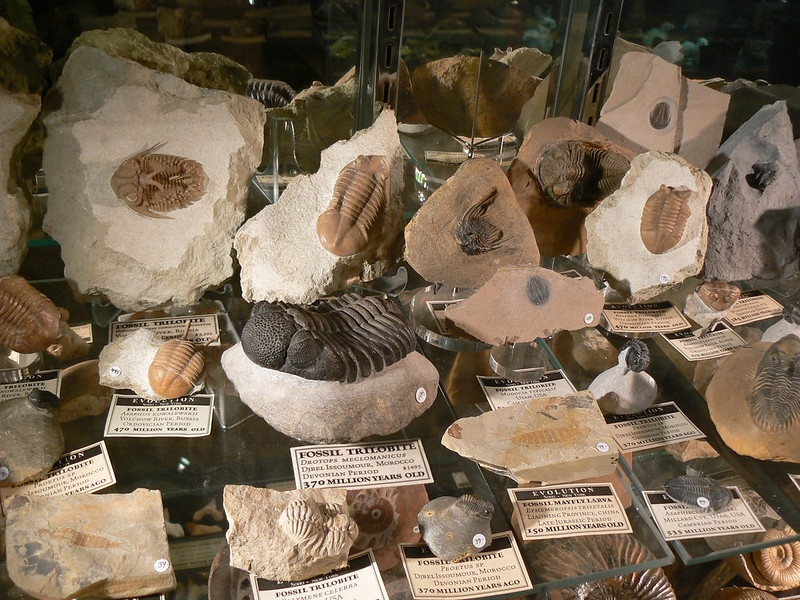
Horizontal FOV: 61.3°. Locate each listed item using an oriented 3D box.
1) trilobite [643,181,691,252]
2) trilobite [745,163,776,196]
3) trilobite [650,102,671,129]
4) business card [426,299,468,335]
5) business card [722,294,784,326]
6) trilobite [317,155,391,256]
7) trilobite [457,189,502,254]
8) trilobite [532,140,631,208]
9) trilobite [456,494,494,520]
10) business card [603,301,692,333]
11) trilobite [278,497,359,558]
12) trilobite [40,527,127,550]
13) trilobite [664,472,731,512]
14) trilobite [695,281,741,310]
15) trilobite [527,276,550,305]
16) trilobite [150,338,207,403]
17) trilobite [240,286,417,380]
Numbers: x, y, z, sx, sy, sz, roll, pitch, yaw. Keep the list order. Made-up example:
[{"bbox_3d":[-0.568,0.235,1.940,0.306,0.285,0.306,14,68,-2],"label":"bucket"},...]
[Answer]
[{"bbox_3d":[0.837,-0.253,2.133,0.153,0.173,0.128,5,40,4],"label":"trilobite"},{"bbox_3d":[1.217,-0.418,2.277,0.089,0.086,0.052,15,42,16],"label":"trilobite"},{"bbox_3d":[0.921,-0.649,2.380,0.069,0.088,0.021,12,15,5],"label":"trilobite"},{"bbox_3d":[0.146,0.053,2.219,0.108,0.028,0.113,-5,43,-6],"label":"business card"},{"bbox_3d":[1.256,0.030,2.394,0.175,0.021,0.127,-16,59,-22],"label":"business card"},{"bbox_3d":[-0.136,-0.266,1.979,0.164,0.061,0.318,28,82,-9],"label":"trilobite"},{"bbox_3d":[0.260,-0.230,2.053,0.179,0.144,0.043,-40,23,-5],"label":"trilobite"},{"bbox_3d":[0.589,-0.410,2.189,0.307,0.182,0.131,-9,41,-12],"label":"trilobite"},{"bbox_3d":[0.188,0.513,1.690,0.082,0.025,0.050,21,62,3],"label":"trilobite"},{"bbox_3d":[0.825,0.059,2.265,0.224,0.032,0.132,1,43,-3],"label":"business card"},{"bbox_3d":[-0.201,0.555,1.674,0.174,0.087,0.140,-17,43,-20],"label":"trilobite"},{"bbox_3d":[-0.778,0.580,1.655,0.196,0.029,0.034,8,40,7],"label":"trilobite"},{"bbox_3d":[0.827,0.524,1.876,0.139,0.034,0.091,9,22,38],"label":"trilobite"},{"bbox_3d":[1.081,-0.027,2.297,0.145,0.044,0.112,-32,50,-33],"label":"trilobite"},{"bbox_3d":[0.417,-0.033,2.026,0.069,0.085,0.012,-18,5,-3],"label":"trilobite"},{"bbox_3d":[-0.632,0.187,1.913,0.145,0.062,0.196,24,57,-7],"label":"trilobite"},{"bbox_3d":[-0.189,0.098,1.862,0.348,0.108,0.266,-9,35,-27],"label":"trilobite"}]
